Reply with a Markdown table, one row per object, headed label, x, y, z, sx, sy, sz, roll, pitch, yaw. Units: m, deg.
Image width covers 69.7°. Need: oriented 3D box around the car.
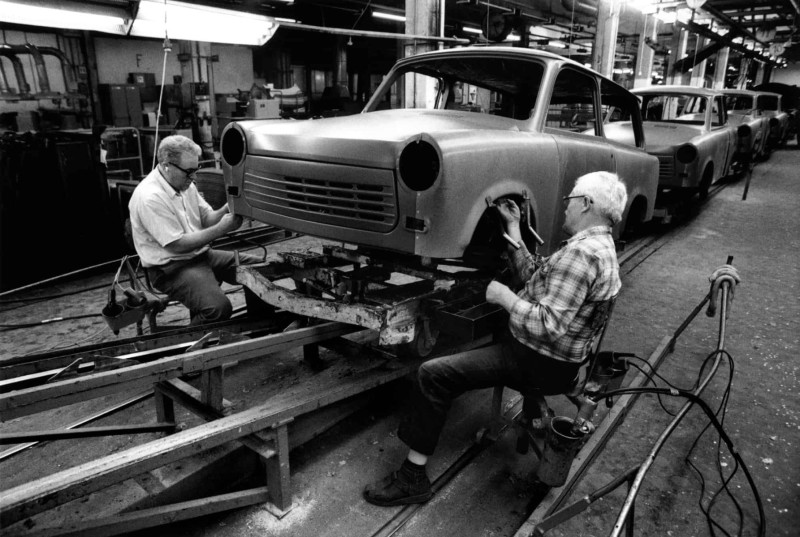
| label | x | y | z | sx | sy | sz | roll | pitch | yaw |
| --- | --- | --- | --- | --- | --- | --- | --- | --- | --- |
| car | 1.008 | -1.057 | 5.813 | 4.597 | 1.597 | 2.539 | -9 | 13 | -44 |
